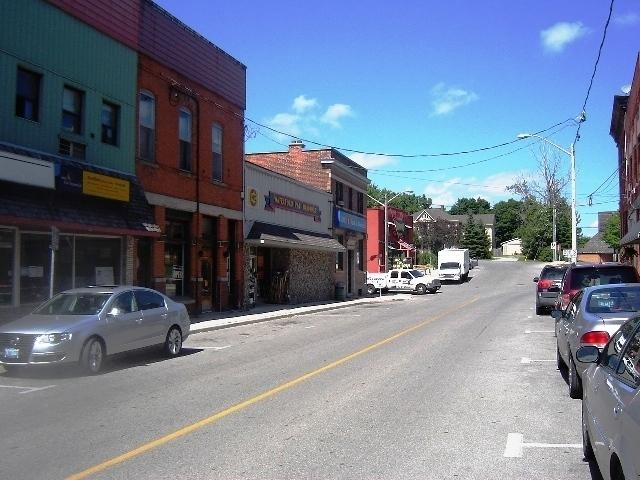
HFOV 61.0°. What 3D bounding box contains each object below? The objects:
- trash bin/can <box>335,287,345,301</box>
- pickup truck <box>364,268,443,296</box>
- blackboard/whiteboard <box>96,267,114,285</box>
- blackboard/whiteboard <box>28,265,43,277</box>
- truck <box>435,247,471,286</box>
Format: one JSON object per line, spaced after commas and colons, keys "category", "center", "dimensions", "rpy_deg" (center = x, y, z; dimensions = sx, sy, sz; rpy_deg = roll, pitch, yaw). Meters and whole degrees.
{"category": "trash bin/can", "center": [1.336, 3.586, 36.497], "dimensions": [0.728, 0.885, 0.711], "rpy_deg": [2, -5, -40]}
{"category": "pickup truck", "center": [6.705, 3.444, 44.594], "dimensions": [5.632, 1.931, 2.109], "rpy_deg": [-1, -2, 7]}
{"category": "blackboard/whiteboard", "center": [-7.606, 1.257, 19.176], "dimensions": [0.471, 0.592, 0.575], "rpy_deg": [-2, -3, 20]}
{"category": "blackboard/whiteboard", "center": [-8.784, 0.985, 16.795], "dimensions": [0.221, 0.471, 0.458], "rpy_deg": [-5, -4, 32]}
{"category": "truck", "center": [14.220, 2.743, 57.978], "dimensions": [2.692, 3.581, 6.330], "rpy_deg": [-1, -5, 15]}
